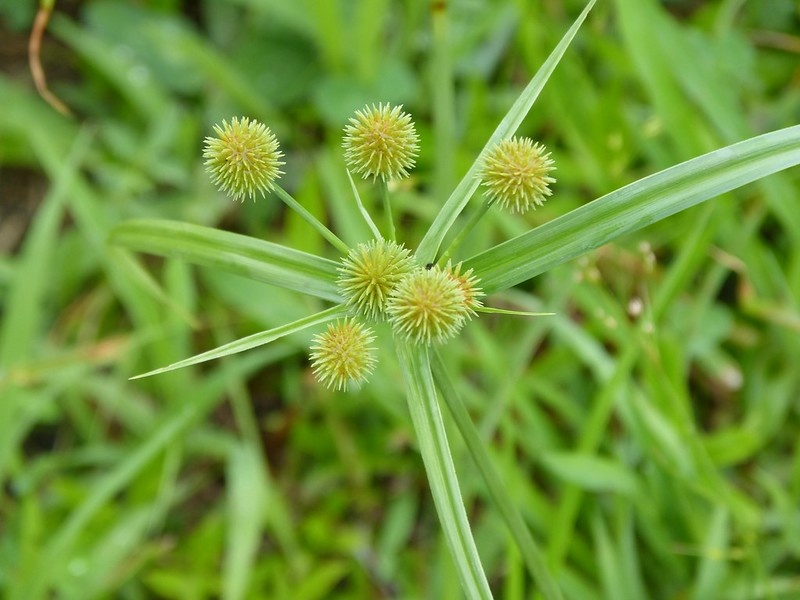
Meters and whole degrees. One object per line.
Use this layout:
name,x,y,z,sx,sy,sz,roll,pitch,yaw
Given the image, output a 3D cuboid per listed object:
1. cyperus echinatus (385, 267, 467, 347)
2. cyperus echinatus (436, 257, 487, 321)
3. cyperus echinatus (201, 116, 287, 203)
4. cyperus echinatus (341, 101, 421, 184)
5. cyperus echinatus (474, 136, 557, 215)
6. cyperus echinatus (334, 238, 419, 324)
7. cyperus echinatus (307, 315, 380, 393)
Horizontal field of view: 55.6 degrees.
cyperus echinatus,0.035,0.013,1.170,0.106,0.121,0.112,1,16,-14
cyperus echinatus,0.105,-0.021,1.209,0.038,0.091,0.087,-17,0,10
cyperus echinatus,-0.268,-0.239,1.228,0.117,0.104,0.112,19,-13,-23
cyperus echinatus,-0.025,-0.252,1.221,0.089,0.100,0.084,-5,14,-36
cyperus echinatus,0.189,-0.203,1.226,0.101,0.117,0.109,11,-1,-1
cyperus echinatus,-0.036,-0.050,1.206,0.082,0.080,0.090,-3,7,36
cyperus echinatus,-0.093,0.083,1.254,0.098,0.168,0.169,-2,-28,-4
